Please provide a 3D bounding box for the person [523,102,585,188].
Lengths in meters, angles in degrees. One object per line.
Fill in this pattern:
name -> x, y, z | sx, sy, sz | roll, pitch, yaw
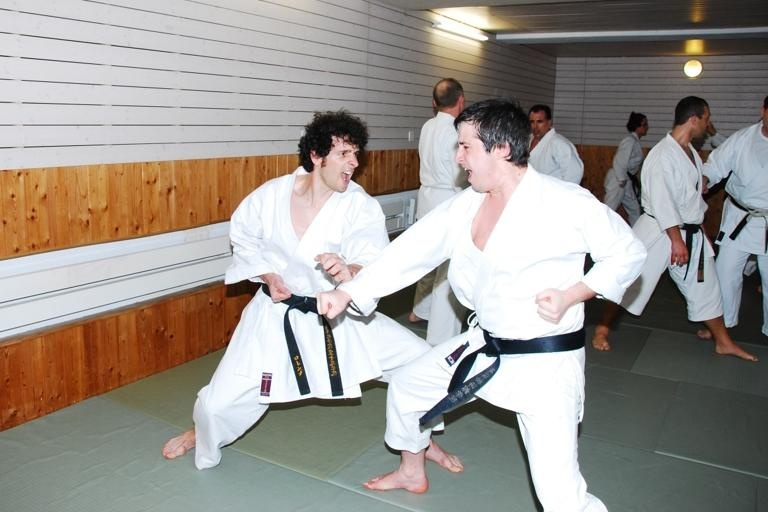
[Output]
person -> 1.809, -1.252, 5.807 | 0.566, 0.964, 1.010 | -14, 23, -15
